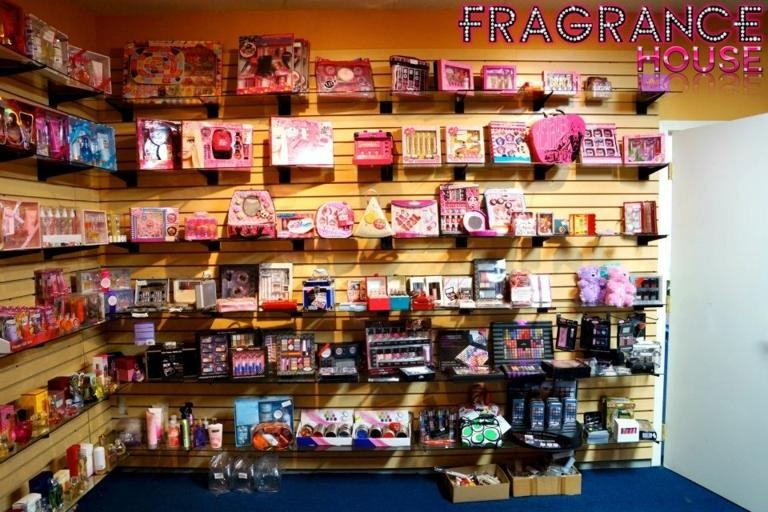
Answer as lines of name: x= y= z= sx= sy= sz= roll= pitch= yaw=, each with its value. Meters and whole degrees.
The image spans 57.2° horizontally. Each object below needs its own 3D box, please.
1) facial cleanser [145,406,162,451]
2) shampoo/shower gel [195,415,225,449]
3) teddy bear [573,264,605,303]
facial cleanser: x=-2.564 y=1.896 z=7.828 sx=0.185 sy=0.437 sz=0.194 roll=-3 pitch=4 yaw=-14
shampoo/shower gel: x=-1.948 y=1.953 z=7.812 sx=0.366 sy=0.324 sz=0.185 roll=1 pitch=3 yaw=1
teddy bear: x=2.301 y=0.320 z=7.839 sx=0.331 sy=0.425 sz=0.188 roll=0 pitch=4 yaw=14
